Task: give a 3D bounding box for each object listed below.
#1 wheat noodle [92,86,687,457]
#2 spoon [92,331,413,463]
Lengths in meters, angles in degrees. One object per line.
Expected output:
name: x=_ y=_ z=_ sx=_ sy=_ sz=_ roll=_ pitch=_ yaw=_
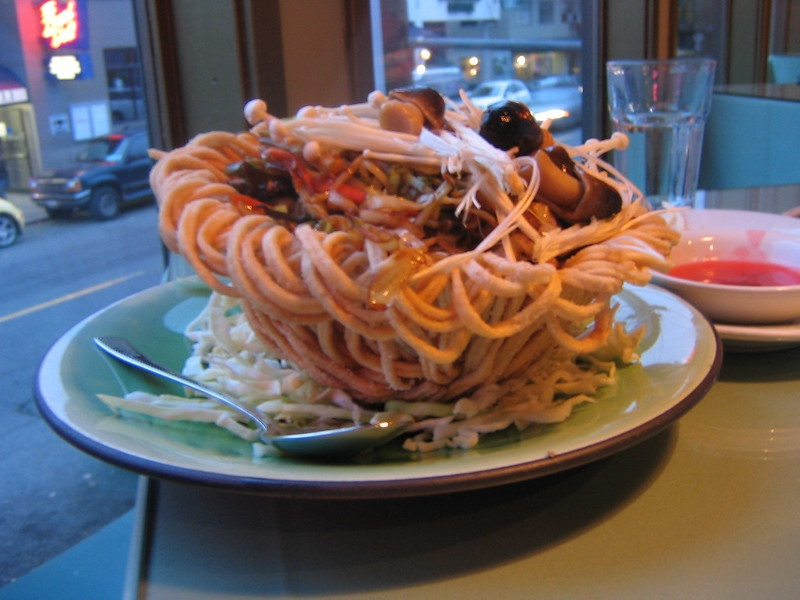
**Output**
wheat noodle: x=-0.016 y=-0.047 z=0.697 sx=0.433 sy=0.229 sz=0.413 roll=-10 pitch=31 yaw=-26
spoon: x=-0.254 y=0.107 z=0.777 sx=0.527 sy=0.072 sz=0.115 roll=9 pitch=1 yaw=36
